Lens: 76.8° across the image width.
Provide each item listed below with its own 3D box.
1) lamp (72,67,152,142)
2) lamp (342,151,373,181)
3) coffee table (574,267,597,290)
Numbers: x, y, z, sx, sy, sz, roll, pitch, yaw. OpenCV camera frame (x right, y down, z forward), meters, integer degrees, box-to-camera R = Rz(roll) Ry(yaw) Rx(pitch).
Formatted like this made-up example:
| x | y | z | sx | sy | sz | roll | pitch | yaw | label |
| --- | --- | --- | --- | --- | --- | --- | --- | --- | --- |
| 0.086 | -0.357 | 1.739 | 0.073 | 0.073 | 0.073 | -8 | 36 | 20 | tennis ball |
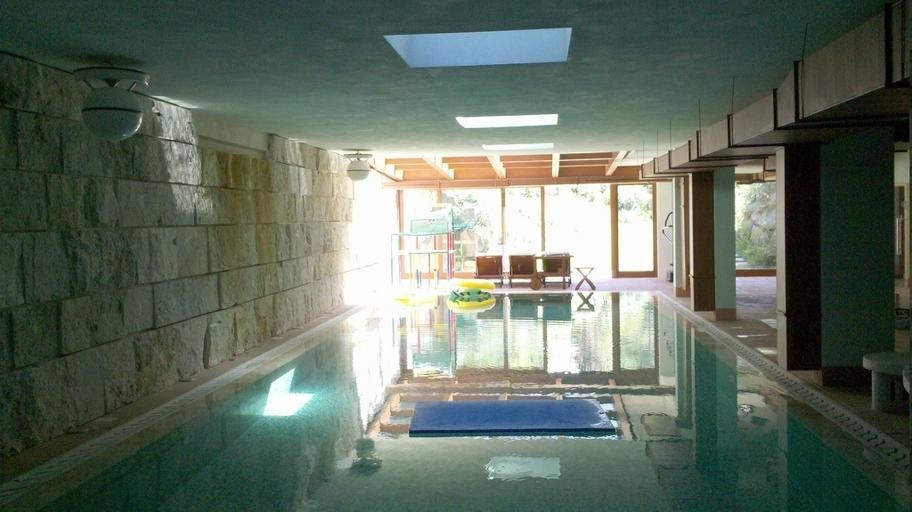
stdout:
| x | y | z | sx | sy | sz | roll | pitch | yaw | label |
| --- | --- | --- | --- | --- | --- | --- | --- | --- | --- |
| -4.252 | -1.875 | 7.288 | 1.018 | 0.944 | 0.857 | 1 | -82 | -4 | lamp |
| -2.186 | -1.993 | 12.825 | 0.806 | 0.696 | 0.818 | 0 | -91 | -5 | lamp |
| 3.866 | 0.651 | 17.160 | 0.844 | 0.764 | 0.688 | 0 | -92 | 4 | coffee table |
